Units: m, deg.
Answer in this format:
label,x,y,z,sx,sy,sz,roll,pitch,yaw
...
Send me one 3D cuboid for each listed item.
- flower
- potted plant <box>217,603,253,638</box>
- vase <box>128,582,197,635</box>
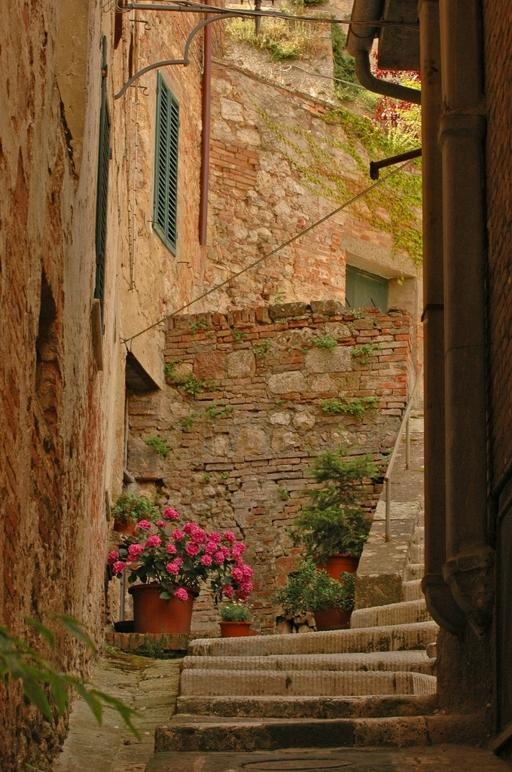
label,x,y,z,sx,sy,sz,roll,pitch,yaw
flower,-0.461,0.969,11.180,0.494,0.393,0.479,2,1,40
potted plant,-0.120,1.317,11.044,0.230,0.272,0.219,2,-6,2
vase,-0.508,1.240,10.766,0.251,0.183,0.275,-3,-26,9
